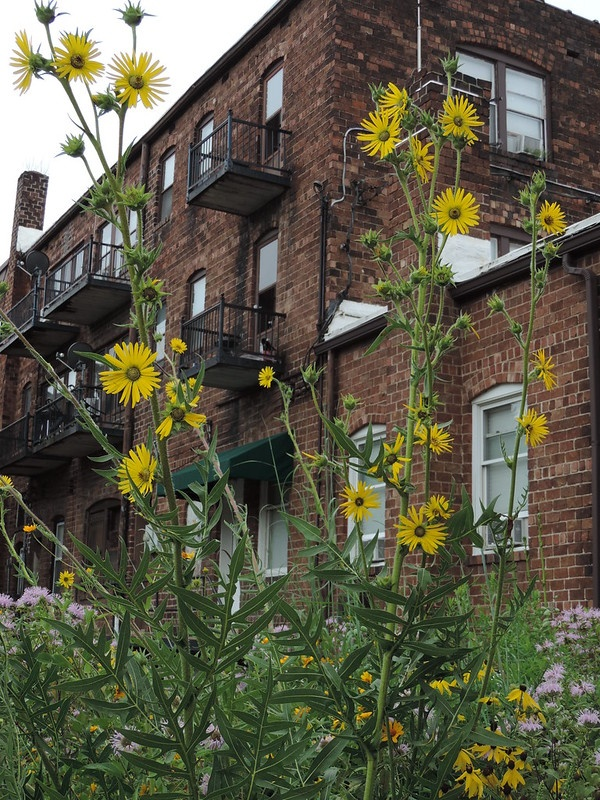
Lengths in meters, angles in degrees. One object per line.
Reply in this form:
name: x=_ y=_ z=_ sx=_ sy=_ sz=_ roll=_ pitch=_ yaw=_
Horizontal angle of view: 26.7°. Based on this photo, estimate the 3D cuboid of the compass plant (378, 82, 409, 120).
compass plant: x=0.161 y=-0.509 z=2.168 sx=0.056 sy=0.063 sz=0.030 roll=4 pitch=12 yaw=28

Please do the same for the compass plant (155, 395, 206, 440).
compass plant: x=-0.160 y=0.026 z=1.639 sx=0.059 sy=0.060 sz=0.025 roll=29 pitch=8 yaw=-19

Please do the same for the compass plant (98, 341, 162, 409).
compass plant: x=-0.218 y=-0.038 z=1.666 sx=0.082 sy=0.085 sz=0.023 roll=1 pitch=-12 yaw=0

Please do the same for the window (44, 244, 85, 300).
window: x=-4.141 y=-2.225 z=22.266 sx=0.211 sy=0.781 sz=1.259 roll=28 pitch=-50 yaw=-27
